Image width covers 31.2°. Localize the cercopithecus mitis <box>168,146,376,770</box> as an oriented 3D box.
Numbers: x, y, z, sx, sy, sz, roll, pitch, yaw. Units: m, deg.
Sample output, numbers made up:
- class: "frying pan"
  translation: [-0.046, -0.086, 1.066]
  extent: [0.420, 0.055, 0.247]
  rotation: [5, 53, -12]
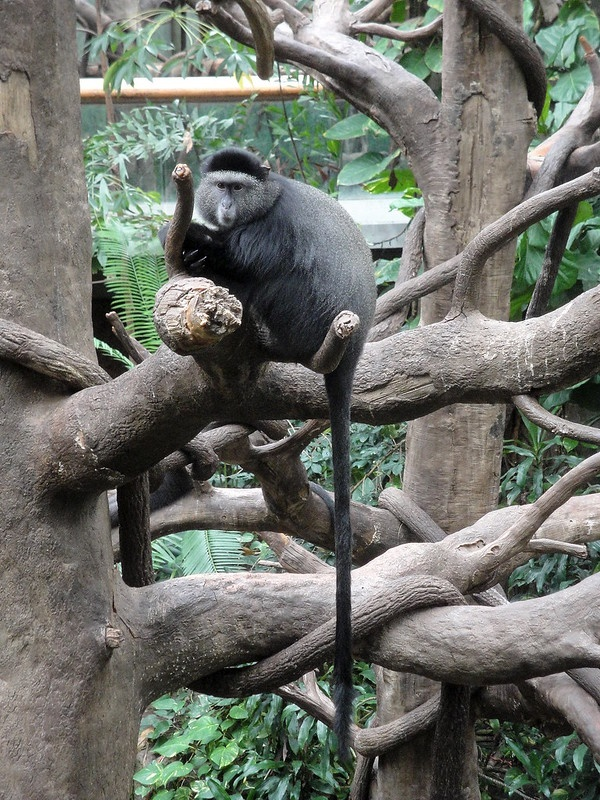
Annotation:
- class: "cercopithecus mitis"
  translation: [-0.061, 0.056, 2.989]
  extent: [0.542, 1.458, 1.043]
  rotation: [1, 13, -3]
